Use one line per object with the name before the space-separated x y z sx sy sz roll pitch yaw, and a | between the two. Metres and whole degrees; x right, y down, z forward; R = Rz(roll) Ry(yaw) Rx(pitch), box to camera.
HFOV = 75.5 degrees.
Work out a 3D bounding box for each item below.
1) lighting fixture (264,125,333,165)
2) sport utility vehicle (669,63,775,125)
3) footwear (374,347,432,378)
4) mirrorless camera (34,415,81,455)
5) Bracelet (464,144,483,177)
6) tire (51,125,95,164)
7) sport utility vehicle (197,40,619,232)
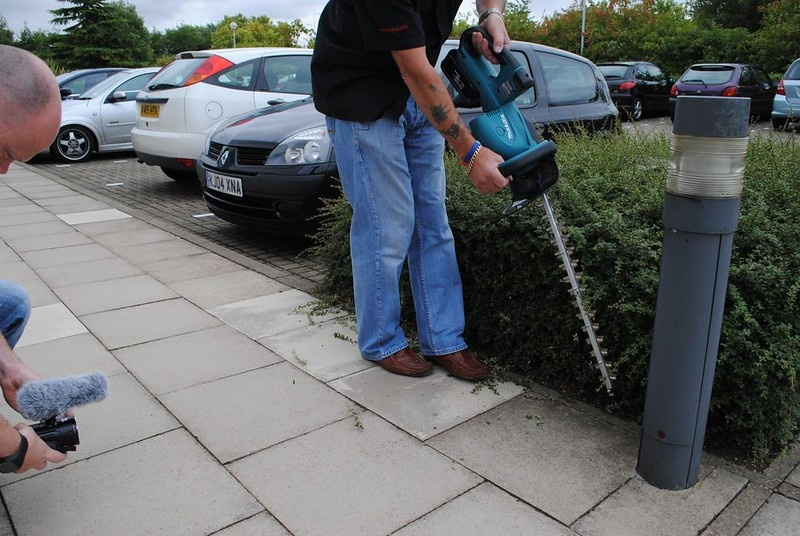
lighting fixture | -0.944 -1.148 4.803 0.545 0.158 0.381 -7 18 -31
sport utility vehicle | 10.198 -5.377 16.101 4.340 1.846 1.716 -16 26 -29
footwear | 0.019 0.557 3.146 0.302 0.106 0.149 5 12 21
mirrorless camera | -1.276 0.619 1.933 0.220 0.121 0.066 -14 8 16
Bracelet | 0.377 -0.542 2.608 0.040 0.129 0.109 21 12 -12
tire | -6.863 -2.577 10.944 0.873 0.836 0.289 -3 2 1
sport utility vehicle | 0.419 -1.392 5.765 4.590 1.469 2.133 -9 21 -31
